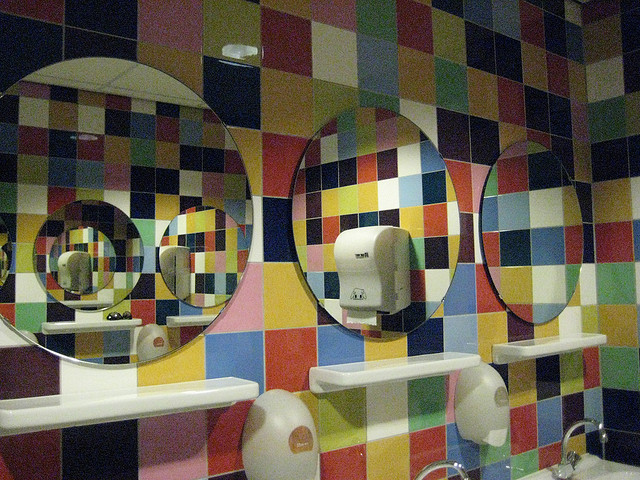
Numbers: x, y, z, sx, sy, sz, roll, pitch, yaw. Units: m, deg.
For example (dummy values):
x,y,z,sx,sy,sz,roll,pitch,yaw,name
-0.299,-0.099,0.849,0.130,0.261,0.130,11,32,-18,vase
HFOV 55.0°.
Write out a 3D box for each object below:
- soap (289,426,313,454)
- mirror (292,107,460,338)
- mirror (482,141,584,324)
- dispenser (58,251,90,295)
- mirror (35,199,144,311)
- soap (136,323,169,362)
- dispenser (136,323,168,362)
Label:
x,y,z,sx,sy,sz,roll,pitch,yaw,name
-0.054,0.572,1.765,0.074,0.065,0.016,15,-13,-42,soap
0.184,-0.078,2.137,0.635,0.777,0.115,2,-2,-42,mirror
0.934,-0.041,2.665,0.671,0.784,0.062,5,-8,-37,mirror
-0.664,0.085,1.703,0.068,0.115,0.070,3,2,1,dispenser
-0.587,0.041,1.648,0.078,0.283,0.298,-1,-1,38,mirror
-0.484,0.288,1.764,0.076,0.133,0.076,6,17,21,soap
-0.493,0.271,1.806,0.089,0.162,0.097,-6,12,-25,dispenser
